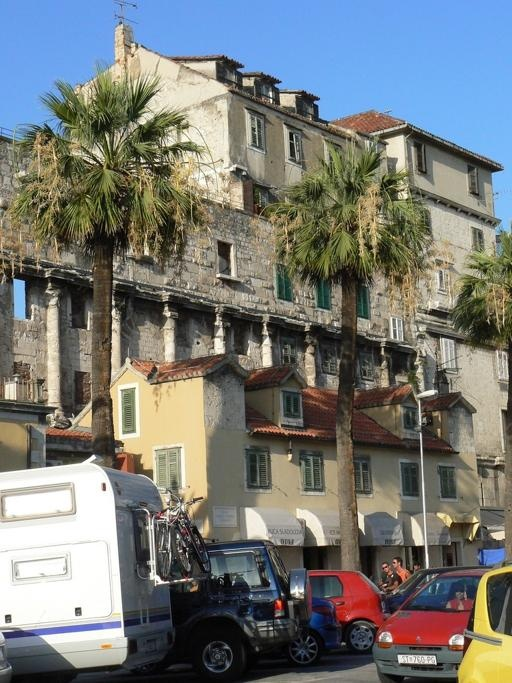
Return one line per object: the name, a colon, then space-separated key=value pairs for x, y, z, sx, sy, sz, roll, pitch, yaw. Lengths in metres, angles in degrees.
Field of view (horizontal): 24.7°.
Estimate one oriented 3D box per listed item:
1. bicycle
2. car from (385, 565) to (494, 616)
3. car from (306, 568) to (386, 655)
bicycle: x=-0.903 y=2.441 z=14.575 sx=0.527 sy=0.762 sz=1.326 roll=-19 pitch=-1 yaw=10
car: x=2.896 y=4.136 z=19.747 sx=1.952 sy=0.940 sz=0.773 roll=-7 pitch=-9 yaw=29
car: x=1.383 y=4.314 z=19.262 sx=1.458 sy=0.939 sz=0.931 roll=1 pitch=-9 yaw=1
